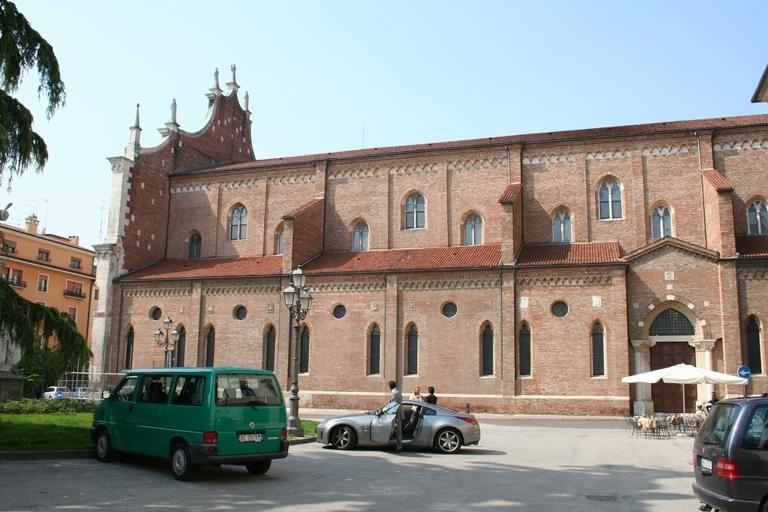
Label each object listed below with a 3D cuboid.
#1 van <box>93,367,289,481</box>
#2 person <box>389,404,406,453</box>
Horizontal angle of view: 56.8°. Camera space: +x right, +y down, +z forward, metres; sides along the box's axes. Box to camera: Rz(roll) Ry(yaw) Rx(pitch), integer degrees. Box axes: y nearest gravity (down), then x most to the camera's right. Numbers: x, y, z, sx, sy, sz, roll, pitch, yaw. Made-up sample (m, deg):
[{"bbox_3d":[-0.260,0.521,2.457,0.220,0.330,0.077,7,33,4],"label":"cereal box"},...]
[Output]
[{"bbox_3d":[-5.668,4.587,19.650,5.949,2.855,1.826,-5,-12,24],"label":"van"},{"bbox_3d":[0.456,5.603,23.175,0.364,1.565,0.700,-1,-11,4],"label":"person"}]
